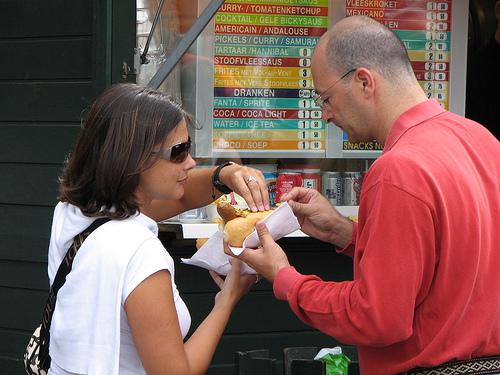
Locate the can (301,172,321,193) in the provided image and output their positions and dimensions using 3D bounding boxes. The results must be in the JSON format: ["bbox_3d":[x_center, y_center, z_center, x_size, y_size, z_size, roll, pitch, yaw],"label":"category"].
[{"bbox_3d":[0.480,-0.038,4.872,0.137,0.271,0.138,-1,-6,0],"label":"can"}]

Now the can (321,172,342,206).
[{"bbox_3d":[0.643,0.006,4.921,0.166,0.253,0.115,1,9,5],"label":"can"}]

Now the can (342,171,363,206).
[{"bbox_3d":[0.805,0.010,4.920,0.160,0.259,0.121,2,9,8],"label":"can"}]

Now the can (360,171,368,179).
[{"bbox_3d":[0.901,-0.102,4.961,0.059,0.073,0.061,-1,-3,40],"label":"can"}]

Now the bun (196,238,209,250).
[{"bbox_3d":[-0.254,0.291,3.261,0.059,0.050,0.063,11,7,29],"label":"bun"}]

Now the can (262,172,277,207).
[{"bbox_3d":[0.156,0.001,4.819,0.113,0.232,0.134,0,9,-6],"label":"can"}]

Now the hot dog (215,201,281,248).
[{"bbox_3d":[-0.016,0.128,3.032,0.341,0.125,0.162,-32,8,-41],"label":"hot dog"}]
